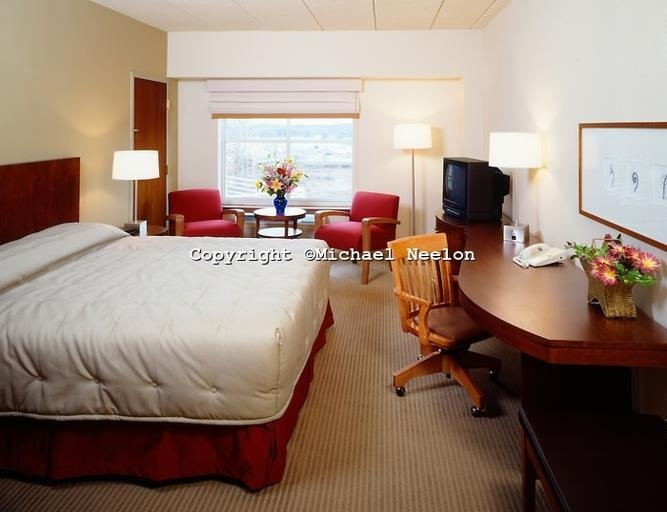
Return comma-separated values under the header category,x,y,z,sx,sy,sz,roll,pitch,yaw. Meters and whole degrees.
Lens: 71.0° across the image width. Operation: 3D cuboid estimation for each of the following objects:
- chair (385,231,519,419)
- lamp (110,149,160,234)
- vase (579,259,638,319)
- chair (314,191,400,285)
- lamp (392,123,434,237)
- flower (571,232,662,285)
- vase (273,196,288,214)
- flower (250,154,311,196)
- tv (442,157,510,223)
category,x,y,z,sx,sy,sz,roll,pitch,yaw
chair,0.799,0.427,3.324,0.630,1.128,0.755,-13,13,-35
lamp,-2.206,-0.663,5.192,0.413,1.009,0.417,21,20,40
vase,1.481,0.177,2.539,0.122,0.228,0.454,-4,8,13
chair,0.246,-0.479,6.439,1.093,1.546,1.087,7,11,40
lamp,1.103,-1.067,6.629,0.531,1.606,0.564,2,13,9
flower,1.432,0.009,2.407,0.231,0.153,0.331,2,1,-24
vase,-0.708,-0.693,6.341,0.180,0.297,0.213,1,0,3
flower,-0.753,-1.222,6.514,0.612,0.779,0.696,6,6,5
tv,1.520,-0.750,5.068,0.478,0.605,0.765,-3,14,-4
